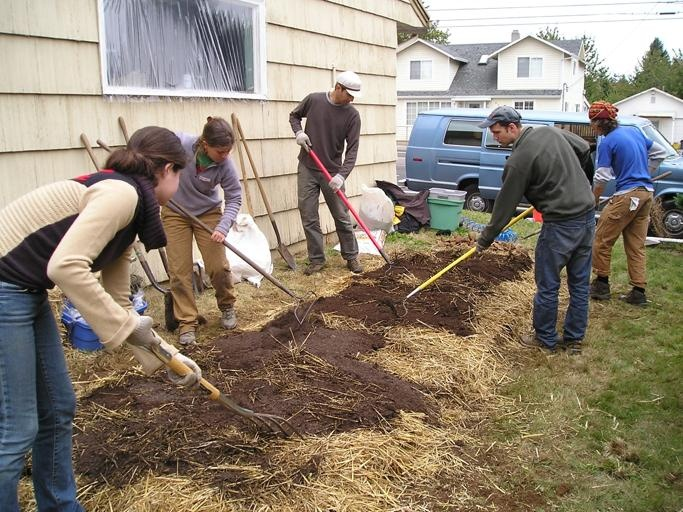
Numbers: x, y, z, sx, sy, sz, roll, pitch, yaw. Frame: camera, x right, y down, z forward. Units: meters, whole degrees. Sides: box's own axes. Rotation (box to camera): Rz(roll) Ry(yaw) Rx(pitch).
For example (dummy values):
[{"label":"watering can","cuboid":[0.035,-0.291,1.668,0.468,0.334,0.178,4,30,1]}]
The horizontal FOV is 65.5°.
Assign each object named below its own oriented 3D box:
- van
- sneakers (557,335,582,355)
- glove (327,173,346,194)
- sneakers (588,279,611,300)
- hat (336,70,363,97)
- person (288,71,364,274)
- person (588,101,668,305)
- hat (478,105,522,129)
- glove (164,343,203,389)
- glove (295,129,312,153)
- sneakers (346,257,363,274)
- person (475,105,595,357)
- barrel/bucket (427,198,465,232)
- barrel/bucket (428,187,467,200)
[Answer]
[{"label":"van","cuboid":[3.553,-1.755,10.276,5.035,2.225,2.498,6,9,28]},{"label":"sneakers","cuboid":[2.055,0.814,4.834,0.099,0.129,0.291,-5,0,-8]},{"label":"glove","cuboid":[-0.065,-0.848,6.185,0.165,0.210,0.185,-1,14,-2]},{"label":"sneakers","cuboid":[2.927,0.385,6.015,0.133,0.232,0.344,-5,9,-17]},{"label":"hat","cuboid":[0.081,-1.963,6.032,0.251,0.280,0.321,1,14,5]},{"label":"person","cuboid":[-0.181,-0.965,6.376,0.840,2.340,0.637,-2,15,-6]},{"label":"person","cuboid":[3.140,-0.628,5.999,0.794,2.178,1.146,8,17,28]},{"label":"hat","cuboid":[1.402,-1.233,4.700,0.334,0.170,0.217,2,18,14]},{"label":"glove","cuboid":[-0.838,0.571,2.863,0.181,0.241,0.081,-37,5,45]},{"label":"glove","cuboid":[-0.446,-1.346,6.199,0.178,0.218,0.234,-1,14,-4]},{"label":"sneakers","cuboid":[0.146,0.108,6.619,0.116,0.119,0.279,-21,17,-21]},{"label":"person","cuboid":[1.759,-0.237,4.727,0.990,2.137,0.544,5,16,19]},{"label":"barrel/bucket","cuboid":[1.649,-0.674,8.587,0.566,0.428,0.505,3,4,25]},{"label":"barrel/bucket","cuboid":[1.714,-0.985,8.591,0.394,0.128,0.270,5,12,26]}]
